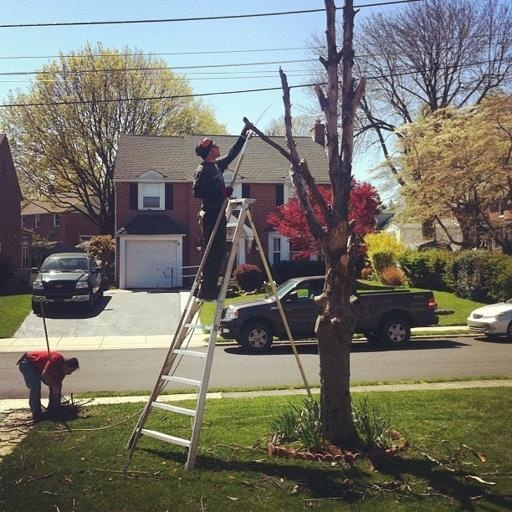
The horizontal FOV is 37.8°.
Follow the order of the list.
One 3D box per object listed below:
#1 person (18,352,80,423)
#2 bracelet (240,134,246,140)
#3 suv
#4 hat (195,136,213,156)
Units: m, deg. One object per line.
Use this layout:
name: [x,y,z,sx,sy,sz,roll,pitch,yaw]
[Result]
person: [-2.918,1.716,10.171,0.932,1.096,0.619,-4,5,-22]
bracelet: [-0.184,-1.552,9.804,0.013,0.055,0.054,5,2,40]
suv: [-5.936,0.861,23.733,2.006,1.794,4.174,-1,2,-11]
hat: [-0.670,-1.371,9.482,0.207,0.246,0.181,26,2,-21]
